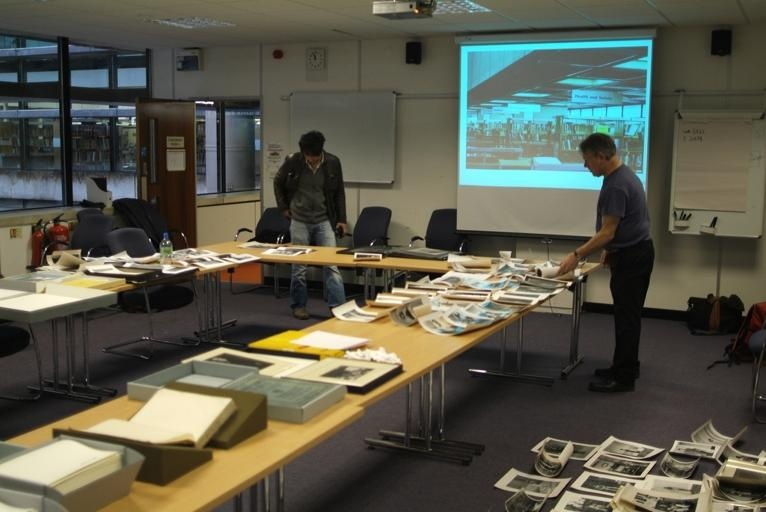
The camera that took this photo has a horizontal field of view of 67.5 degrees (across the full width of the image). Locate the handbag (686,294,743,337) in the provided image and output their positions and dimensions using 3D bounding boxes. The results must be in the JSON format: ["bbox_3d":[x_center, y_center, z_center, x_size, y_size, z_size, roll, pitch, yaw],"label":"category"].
[{"bbox_3d":[3.808,0.679,6.611,0.608,0.468,0.337,-1,10,7],"label":"handbag"}]

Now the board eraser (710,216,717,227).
[{"bbox_3d":[3.760,-0.379,6.523,0.058,0.108,0.025,22,11,32],"label":"board eraser"}]

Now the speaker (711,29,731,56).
[{"bbox_3d":[3.745,-2.366,6.356,0.219,0.283,0.094,3,10,18],"label":"speaker"}]

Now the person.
[{"bbox_3d":[1.902,0.093,4.775,0.618,2.159,0.445,5,12,22],"label":"person"}]

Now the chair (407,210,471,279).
[{"bbox_3d":[0.871,-0.100,7.655,0.918,1.224,0.839,0,-8,17],"label":"chair"}]

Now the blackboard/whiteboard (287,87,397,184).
[{"bbox_3d":[-0.435,-1.571,7.545,1.517,1.207,0.103,3,7,20],"label":"blackboard/whiteboard"}]

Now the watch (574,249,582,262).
[{"bbox_3d":[1.597,-0.001,4.682,0.088,0.031,0.083,49,11,25],"label":"watch"}]

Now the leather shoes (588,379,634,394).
[{"bbox_3d":[1.962,1.130,4.985,0.398,0.154,0.137,3,0,-3],"label":"leather shoes"}]

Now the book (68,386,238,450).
[{"bbox_3d":[-0.808,0.640,2.223,0.299,0.115,0.304,7,10,23],"label":"book"}]
